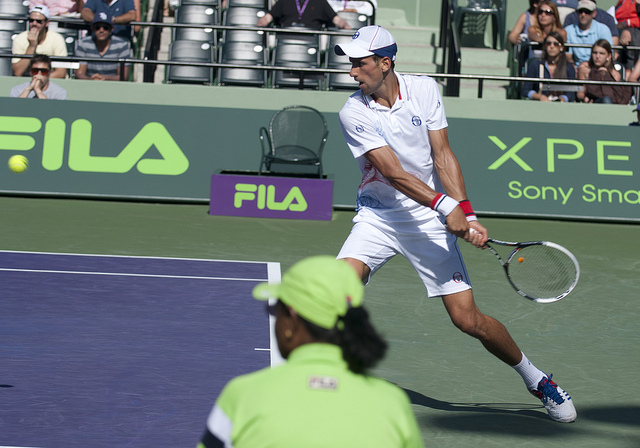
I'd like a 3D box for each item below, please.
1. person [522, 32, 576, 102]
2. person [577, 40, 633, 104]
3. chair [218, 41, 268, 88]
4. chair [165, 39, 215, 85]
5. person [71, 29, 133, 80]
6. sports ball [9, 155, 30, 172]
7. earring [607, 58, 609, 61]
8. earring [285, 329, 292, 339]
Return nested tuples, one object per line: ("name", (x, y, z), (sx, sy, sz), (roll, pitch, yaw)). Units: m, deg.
("person", (3.646, -2.442, 17.618), (1.079, 1.388, 1.047), (2, -1, 9))
("person", (4.665, -2.384, 17.598), (0.919, 1.276, 1.057), (-3, 4, 12))
("chair", (-1.287, -2.687, 18.390), (0.809, 0.592, 0.888), (7, 26, -7))
("chair", (-2.179, -2.732, 18.505), (0.833, 1.012, 0.840), (1, -6, -4))
("person", (-3.494, -2.628, 17.504), (0.895, 0.897, 1.141), (4, 26, -12))
("sports ball", (-4.348, -0.878, 15.865), (0.245, 0.230, 0.130), (12, -14, -2))
("earring", (4.554, -2.608, 17.427), (0.010, 0.044, 0.042), (31, 33, 36))
("earring", (-0.226, 0.776, 7.705), (0.059, 0.055, 0.031), (9, 2, -3))
